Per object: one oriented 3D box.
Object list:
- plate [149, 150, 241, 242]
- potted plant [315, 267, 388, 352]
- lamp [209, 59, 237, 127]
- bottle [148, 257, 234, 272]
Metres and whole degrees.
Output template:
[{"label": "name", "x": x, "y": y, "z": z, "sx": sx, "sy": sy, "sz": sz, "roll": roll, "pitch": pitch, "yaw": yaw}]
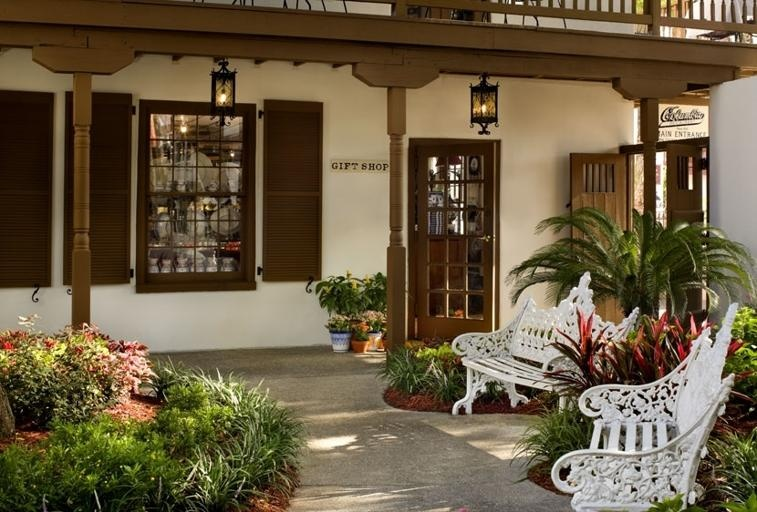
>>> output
[{"label": "plate", "x": -2.663, "y": -0.894, "z": 10.107, "sx": 1.057, "sy": 1.352, "sz": 0.154, "roll": 0, "pitch": 6, "yaw": -13}, {"label": "potted plant", "x": -0.363, "y": 0.758, "z": 10.278, "sx": 0.899, "sy": 1.179, "sz": 1.168, "roll": -2, "pitch": -4, "yaw": 43}, {"label": "lamp", "x": -1.930, "y": -2.001, "z": 8.833, "sx": 0.266, "sy": 0.861, "sz": 0.301, "roll": 0, "pitch": -2, "yaw": 27}, {"label": "bottle", "x": -2.648, "y": 0.124, "z": 10.128, "sx": 1.171, "sy": 0.141, "sz": 0.217, "roll": 0, "pitch": 0, "yaw": -25}]
